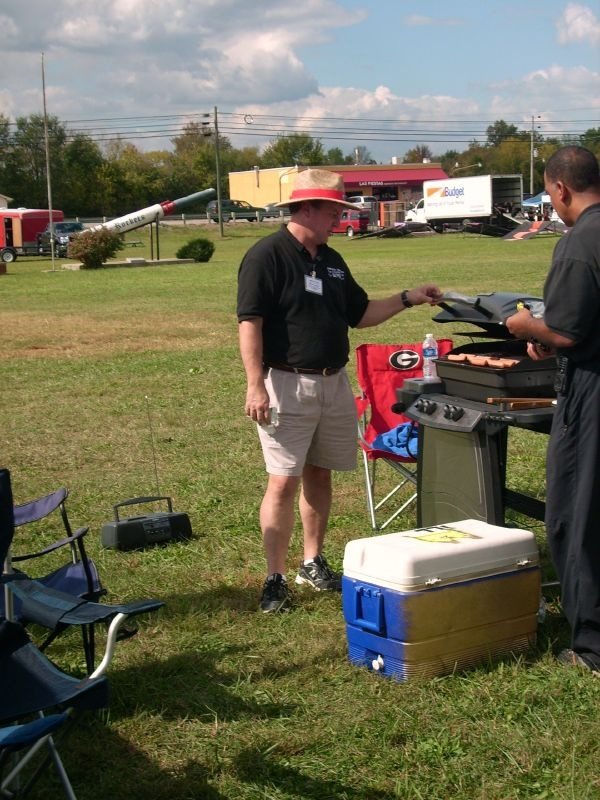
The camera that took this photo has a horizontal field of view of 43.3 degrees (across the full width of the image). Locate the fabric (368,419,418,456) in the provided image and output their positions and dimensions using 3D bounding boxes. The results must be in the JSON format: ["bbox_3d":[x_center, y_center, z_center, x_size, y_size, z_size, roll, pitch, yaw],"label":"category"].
[{"bbox_3d":[0.540,0.213,4.182,0.214,0.059,0.218,7,12,36],"label":"fabric"}]

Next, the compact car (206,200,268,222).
[{"bbox_3d":[-4.188,-12.198,48.948,3.980,1.517,1.867,-4,14,-5],"label":"compact car"}]

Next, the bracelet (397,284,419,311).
[{"bbox_3d":[0.490,-0.469,3.491,0.082,0.116,0.125,-4,11,7],"label":"bracelet"}]

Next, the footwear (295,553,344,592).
[{"bbox_3d":[0.084,0.796,3.450,0.109,0.099,0.230,3,-1,-42],"label":"footwear"}]

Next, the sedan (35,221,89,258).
[{"bbox_3d":[-9.988,-6.818,31.566,1.759,1.270,2.548,-5,5,-31],"label":"sedan"}]

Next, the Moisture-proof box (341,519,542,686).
[{"bbox_3d":[0.508,0.710,2.716,0.694,0.409,0.392,0,-4,-35],"label":"Moisture-proof box"}]

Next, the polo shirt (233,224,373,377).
[{"bbox_3d":[-0.018,-0.413,3.190,0.551,0.622,0.247,-6,9,-20],"label":"polo shirt"}]

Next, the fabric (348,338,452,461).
[{"bbox_3d":[0.682,0.034,4.362,0.563,0.696,0.499,-13,36,-12],"label":"fabric"}]

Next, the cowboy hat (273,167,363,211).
[{"bbox_3d":[0.074,-0.895,3.165,0.269,0.182,0.288,-2,8,6],"label":"cowboy hat"}]

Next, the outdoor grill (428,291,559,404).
[{"bbox_3d":[0.869,-0.240,3.183,0.434,0.444,0.542,-9,10,-22],"label":"outdoor grill"}]

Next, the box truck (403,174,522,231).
[{"bbox_3d":[8.127,-9.916,38.869,5.536,2.484,2.631,9,18,42],"label":"box truck"}]
